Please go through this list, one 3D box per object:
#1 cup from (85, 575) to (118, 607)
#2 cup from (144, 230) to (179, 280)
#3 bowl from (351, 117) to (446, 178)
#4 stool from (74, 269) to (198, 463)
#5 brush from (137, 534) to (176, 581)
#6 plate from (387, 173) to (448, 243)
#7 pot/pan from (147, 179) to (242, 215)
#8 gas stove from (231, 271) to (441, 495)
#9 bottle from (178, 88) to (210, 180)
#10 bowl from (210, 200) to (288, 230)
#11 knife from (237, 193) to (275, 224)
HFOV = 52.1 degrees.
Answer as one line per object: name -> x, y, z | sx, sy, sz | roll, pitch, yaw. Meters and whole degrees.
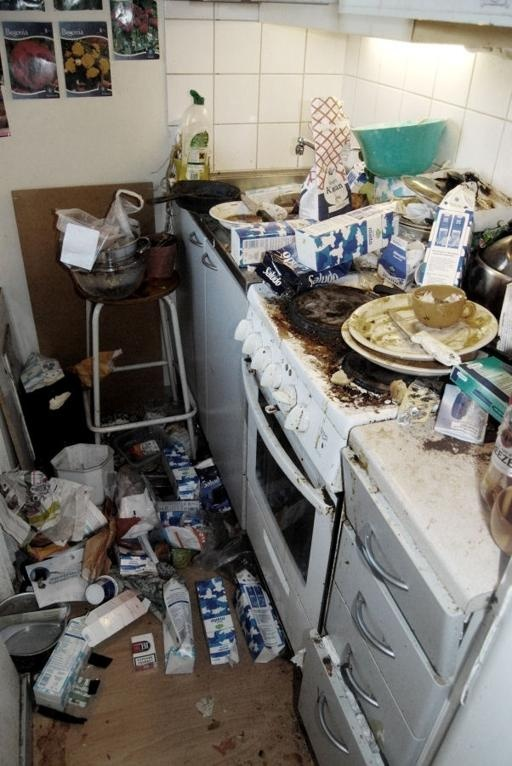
cup -> -0.425, 0.573, 1.481 | 0.084, 0.079, 0.081 | -10, 6, 1
cup -> -0.354, -0.437, 1.814 | 0.147, 0.125, 0.128 | 9, 32, -2
bowl -> 0.366, -0.562, 1.340 | 0.192, 0.104, 0.189 | -6, 26, 3
stool -> -0.459, -0.081, 1.973 | 0.443, 0.683, 0.450 | -19, 34, -32
brush -> -0.300, 0.536, 1.597 | 0.075, 0.086, 0.155 | -18, 37, -32
plate -> 0.368, -0.429, 1.243 | 0.127, 0.112, 0.271 | 9, 31, 10
pot/pan -> -0.192, -0.595, 1.653 | 0.249, 0.052, 0.154 | -27, 43, -35
gas stove -> 0.146, 0.082, 1.057 | 0.270, 0.251, 0.520 | -20, 53, -7
bottle -> -0.200, -0.826, 1.777 | 0.080, 0.310, 0.082 | 4, 43, -3
bowl -> -0.027, -0.472, 1.480 | 0.163, 0.038, 0.168 | 0, 36, 0
knife -> -0.014, -0.515, 1.544 | 0.079, 0.047, 0.232 | -7, 33, -17
